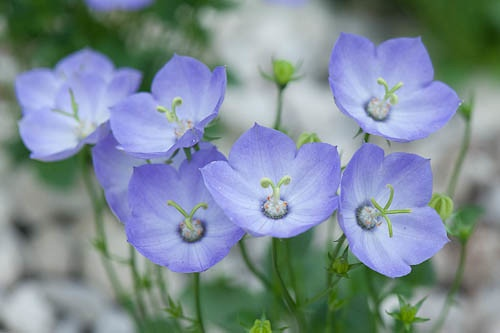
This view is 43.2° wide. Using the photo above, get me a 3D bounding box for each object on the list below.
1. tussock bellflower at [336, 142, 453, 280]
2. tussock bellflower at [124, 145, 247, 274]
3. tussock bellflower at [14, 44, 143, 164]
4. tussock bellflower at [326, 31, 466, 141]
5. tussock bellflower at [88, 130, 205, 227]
[{"bbox_3d":[0.560,0.161,2.592,0.561,0.314,0.538,15,24,12],"label":"tussock bellflower"},{"bbox_3d":[-0.264,0.185,2.641,0.535,0.248,0.492,-24,57,-40],"label":"tussock bellflower"},{"bbox_3d":[-0.760,-0.160,2.791,0.539,0.285,0.611,2,30,-18],"label":"tussock bellflower"},{"bbox_3d":[0.571,-0.397,2.976,0.532,0.293,0.636,1,-6,-1],"label":"tussock bellflower"},{"bbox_3d":[-0.378,0.129,2.651,0.490,0.205,0.489,-10,25,27],"label":"tussock bellflower"}]
